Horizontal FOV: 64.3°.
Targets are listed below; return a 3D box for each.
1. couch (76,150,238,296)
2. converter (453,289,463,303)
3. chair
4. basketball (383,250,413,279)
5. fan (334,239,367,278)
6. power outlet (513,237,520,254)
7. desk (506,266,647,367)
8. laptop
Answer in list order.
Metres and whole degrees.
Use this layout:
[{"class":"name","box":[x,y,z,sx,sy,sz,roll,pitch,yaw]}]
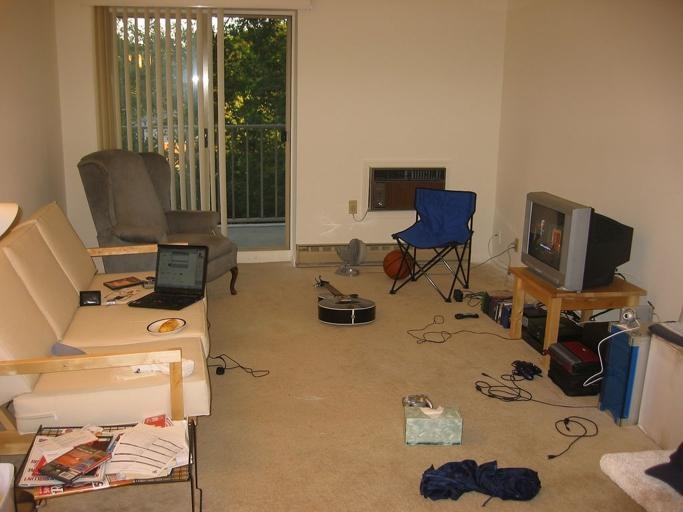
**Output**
[{"class":"couch","box":[-1.611,-0.271,4.961,1.373,1.564,1.255,2,8,10]},{"class":"converter","box":[1.025,0.340,4.816,0.082,0.139,0.161,3,9,-3]},{"class":"chair","box":[0.867,-0.130,5.283,0.922,1.269,0.806,7,14,29]},{"class":"basketball","box":[0.540,0.070,5.296,0.270,0.277,0.270,7,8,5]},{"class":"fan","box":[0.108,0.002,5.616,0.335,0.381,0.370,5,5,35]},{"class":"power outlet","box":[1.749,-0.110,5.419,0.034,0.148,0.104,0,-2,13]},{"class":"desk","box":[1.665,0.379,3.942,0.708,0.605,0.725,2,15,-4]},{"class":"laptop","box":[-1.065,0.120,3.517,0.465,0.400,0.381,2,1,13]}]
